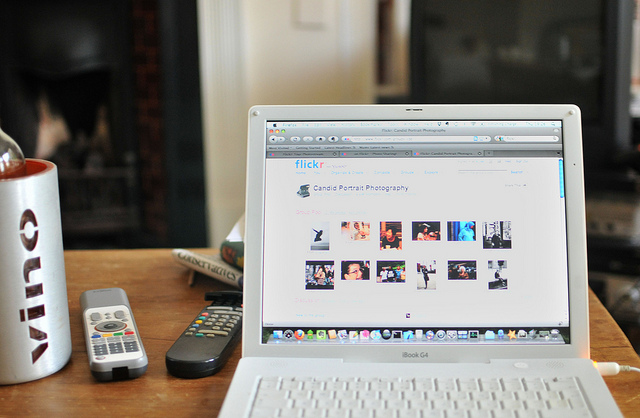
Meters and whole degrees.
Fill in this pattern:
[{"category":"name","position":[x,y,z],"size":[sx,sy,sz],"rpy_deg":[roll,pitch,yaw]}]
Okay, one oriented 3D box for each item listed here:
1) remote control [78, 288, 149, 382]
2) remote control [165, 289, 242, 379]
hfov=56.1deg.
[{"category":"remote control","position":[-0.424,0.244,1.201],"size":[0.101,0.065,0.294],"rpy_deg":[-1,22,-29]},{"category":"remote control","position":[-0.212,0.255,1.173],"size":[0.110,0.095,0.169],"rpy_deg":[2,10,17]}]
